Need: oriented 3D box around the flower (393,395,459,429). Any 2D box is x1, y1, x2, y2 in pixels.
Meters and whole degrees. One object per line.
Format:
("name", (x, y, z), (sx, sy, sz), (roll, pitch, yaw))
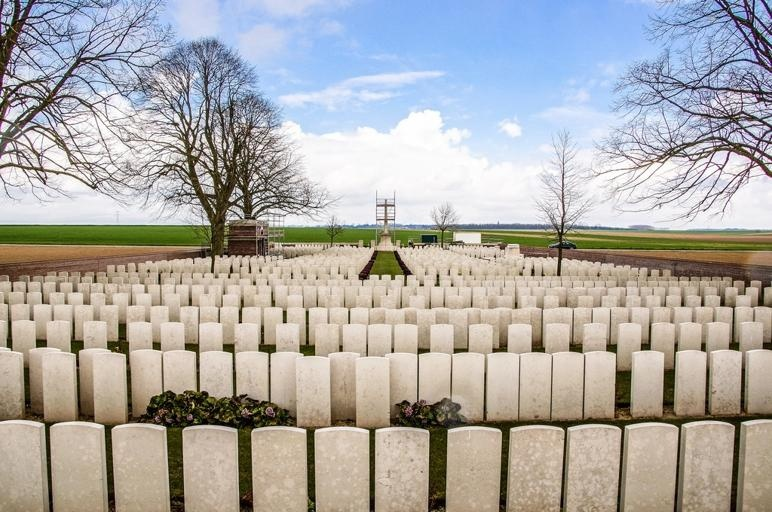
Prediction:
("flower", (0.844, 2.939, 12.430), (0.691, 0.247, 0.692), (-8, 12, -43))
